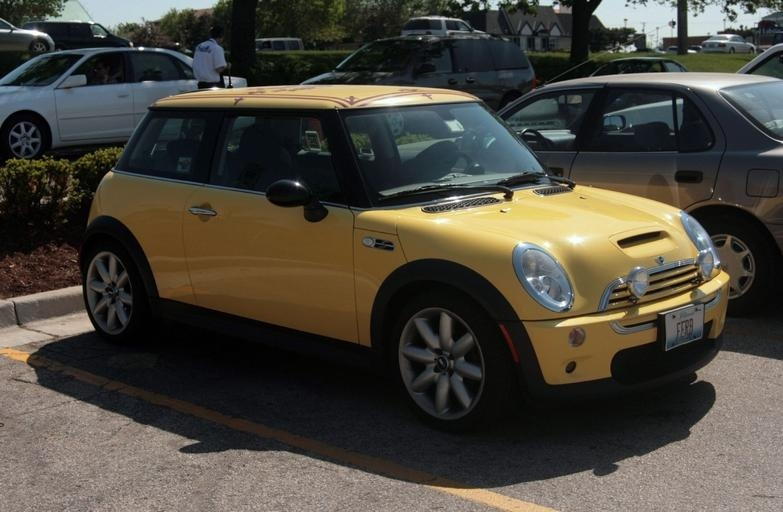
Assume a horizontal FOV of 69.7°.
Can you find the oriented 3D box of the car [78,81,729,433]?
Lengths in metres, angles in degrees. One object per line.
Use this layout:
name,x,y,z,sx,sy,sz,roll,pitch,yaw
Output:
car,-0.077,-0.200,4.550,4.840,2.301,1.555,7,17,29
